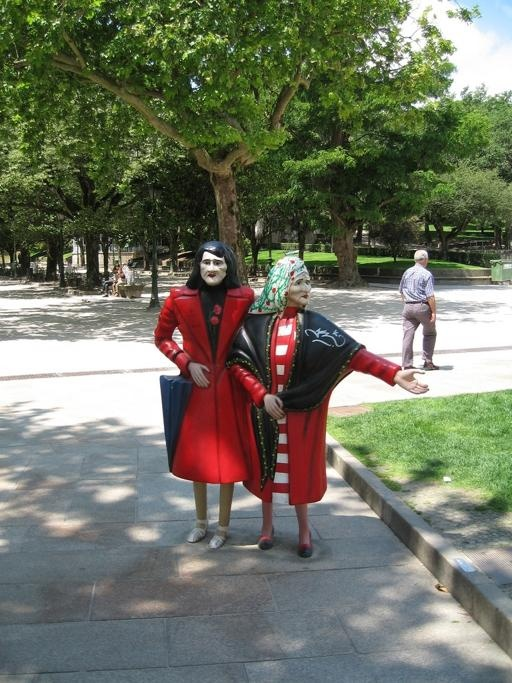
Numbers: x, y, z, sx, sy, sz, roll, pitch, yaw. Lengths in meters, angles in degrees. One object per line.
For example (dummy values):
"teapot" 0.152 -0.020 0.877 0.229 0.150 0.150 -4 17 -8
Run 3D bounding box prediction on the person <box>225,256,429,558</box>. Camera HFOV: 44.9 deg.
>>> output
"person" 0.300 0.396 3.546 0.952 1.746 0.446 1 9 8

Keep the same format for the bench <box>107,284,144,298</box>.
"bench" -5.568 -2.197 27.523 0.759 0.624 1.284 -8 11 -43
